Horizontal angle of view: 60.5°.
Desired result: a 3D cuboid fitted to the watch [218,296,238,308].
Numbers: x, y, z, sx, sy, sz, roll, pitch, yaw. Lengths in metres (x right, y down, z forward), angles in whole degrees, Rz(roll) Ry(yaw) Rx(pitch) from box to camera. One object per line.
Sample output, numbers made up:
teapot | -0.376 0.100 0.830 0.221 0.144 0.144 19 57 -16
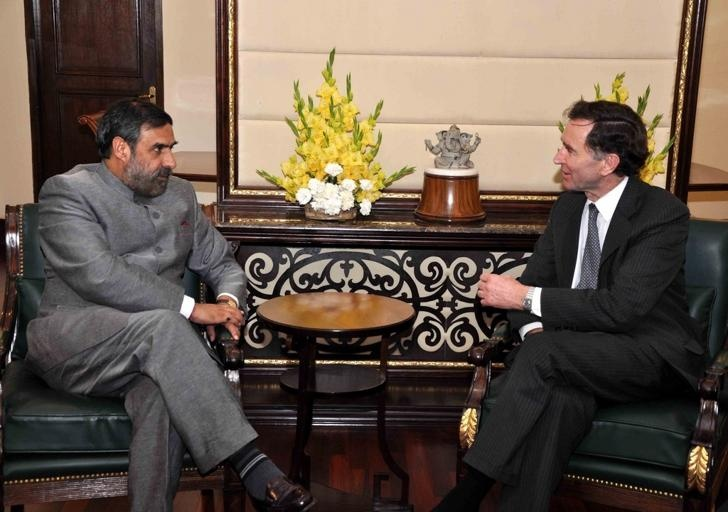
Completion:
watch | -0.530 0.180 2.442 0.056 0.041 0.061 10 -15 -14

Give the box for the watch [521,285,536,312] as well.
watch | 0.611 0.164 2.316 0.048 0.079 0.075 7 5 37
